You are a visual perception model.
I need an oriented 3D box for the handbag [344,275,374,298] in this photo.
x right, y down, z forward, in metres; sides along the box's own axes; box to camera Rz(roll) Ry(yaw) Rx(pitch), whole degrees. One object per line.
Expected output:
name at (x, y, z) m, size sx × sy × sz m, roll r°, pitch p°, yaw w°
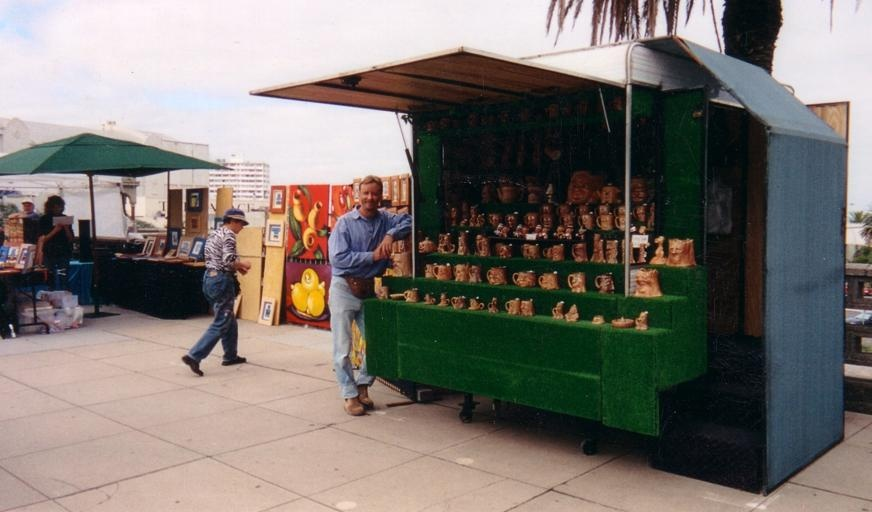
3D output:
handbag at (-0.995, 0.401, 8.669) m, size 0.380 × 0.317 × 0.148 m, roll -4°, pitch 14°, yaw -15°

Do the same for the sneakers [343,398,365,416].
sneakers at (-1.050, 1.947, 8.557) m, size 0.277 × 0.194 × 0.215 m, roll -2°, pitch 13°, yaw -7°

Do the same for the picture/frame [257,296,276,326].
picture/frame at (-3.425, 1.096, 13.289) m, size 0.404 × 0.513 × 0.238 m, roll 10°, pitch 17°, yaw 38°

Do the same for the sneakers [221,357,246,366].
sneakers at (-3.216, 1.669, 10.498) m, size 0.377 × 0.124 × 0.130 m, roll -3°, pitch 4°, yaw -30°

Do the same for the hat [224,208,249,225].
hat at (-3.104, -0.616, 10.238) m, size 0.344 × 0.159 × 0.262 m, roll 0°, pitch 2°, yaw -17°
